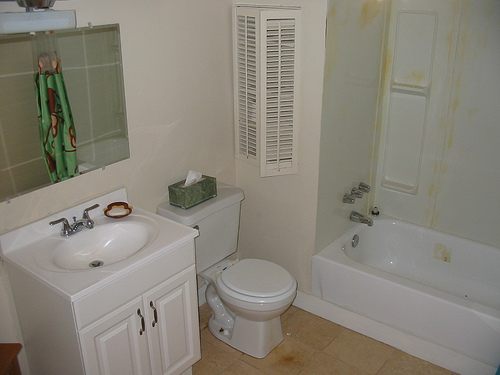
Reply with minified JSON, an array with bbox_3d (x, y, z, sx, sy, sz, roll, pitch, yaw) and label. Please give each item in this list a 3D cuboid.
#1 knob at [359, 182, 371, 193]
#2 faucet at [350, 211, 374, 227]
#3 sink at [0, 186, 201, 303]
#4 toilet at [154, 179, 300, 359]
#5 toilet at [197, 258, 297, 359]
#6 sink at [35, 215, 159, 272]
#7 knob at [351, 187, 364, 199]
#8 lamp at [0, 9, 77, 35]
[{"bbox_3d":[0.900,0.000,3.077,0.079,0.064,0.031,27,-13,-2],"label":"knob"},{"bbox_3d":[0.890,0.239,3.116,0.165,0.073,0.094,22,45,13],"label":"faucet"},{"bbox_3d":[-0.811,0.305,2.075,0.551,0.271,0.646,20,34,31],"label":"sink"},{"bbox_3d":[-0.078,0.622,2.774,0.878,1.014,0.606,12,23,34],"label":"toilet"},{"bbox_3d":[-0.033,0.820,2.813,0.646,0.516,0.541,14,19,29],"label":"toilet"},{"bbox_3d":[-0.804,0.321,2.108,0.624,0.130,0.348,-13,29,-30],"label":"sink"},{"bbox_3d":[0.819,0.038,3.003,0.065,0.035,0.091,-7,30,-19],"label":"knob"},{"bbox_3d":[-0.846,-0.670,1.569,0.273,0.086,0.090,-14,28,-31],"label":"lamp"}]
